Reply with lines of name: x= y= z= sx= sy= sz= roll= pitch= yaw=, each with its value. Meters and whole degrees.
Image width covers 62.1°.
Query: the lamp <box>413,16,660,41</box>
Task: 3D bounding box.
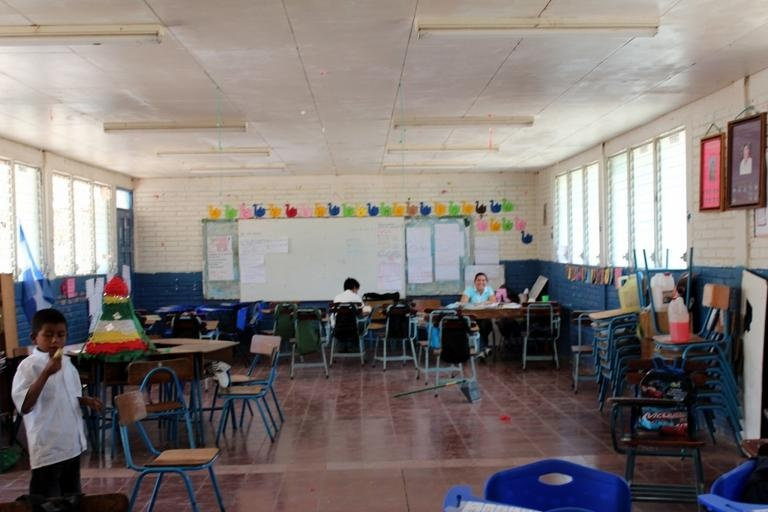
lamp: x=1.455 y=-2.208 z=6.117 sx=2.304 sy=0.132 sz=0.152 roll=-2 pitch=-2 yaw=1

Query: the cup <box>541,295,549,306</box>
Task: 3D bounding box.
cup: x=2.794 y=0.769 z=11.091 sx=0.137 sy=0.091 sz=0.128 roll=-1 pitch=4 yaw=0

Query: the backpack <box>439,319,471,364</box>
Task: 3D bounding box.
backpack: x=0.967 y=1.139 z=8.705 sx=0.413 sy=0.641 sz=0.215 roll=-2 pitch=-1 yaw=4

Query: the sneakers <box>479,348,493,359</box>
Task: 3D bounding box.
sneakers: x=1.717 y=1.678 z=10.913 sx=0.300 sy=0.131 sz=0.382 roll=-2 pitch=4 yaw=14

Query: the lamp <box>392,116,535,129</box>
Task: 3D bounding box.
lamp: x=1.099 y=-1.874 z=8.843 sx=1.905 sy=0.083 sz=0.273 roll=-1 pitch=-2 yaw=-1

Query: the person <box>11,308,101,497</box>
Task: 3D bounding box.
person: x=-2.719 y=1.205 z=5.288 sx=0.586 sy=1.537 sz=0.308 roll=-1 pitch=-2 yaw=-33
